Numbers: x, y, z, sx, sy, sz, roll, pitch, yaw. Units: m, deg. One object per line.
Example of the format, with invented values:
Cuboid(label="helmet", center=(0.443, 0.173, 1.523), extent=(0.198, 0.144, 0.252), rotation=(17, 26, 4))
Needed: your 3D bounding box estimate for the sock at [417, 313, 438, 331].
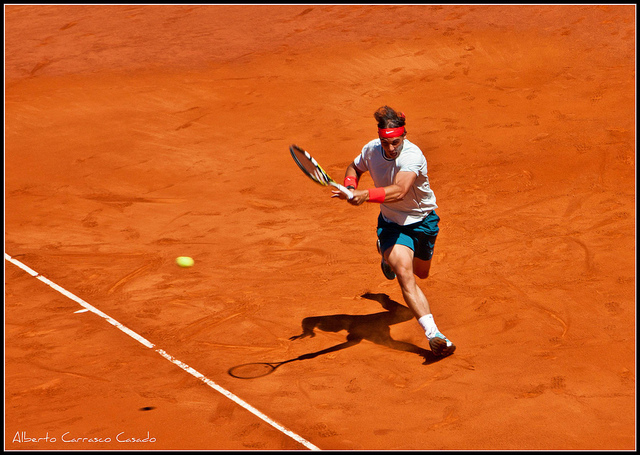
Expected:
Cuboid(label="sock", center=(1.280, 1.133, 8.312), extent=(0.152, 0.158, 0.141), rotation=(-17, 25, -4))

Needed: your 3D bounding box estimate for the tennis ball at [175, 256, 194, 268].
Cuboid(label="tennis ball", center=(-2.052, 0.512, 10.481), extent=(0.274, 0.133, 0.274), rotation=(-10, 23, 4))
